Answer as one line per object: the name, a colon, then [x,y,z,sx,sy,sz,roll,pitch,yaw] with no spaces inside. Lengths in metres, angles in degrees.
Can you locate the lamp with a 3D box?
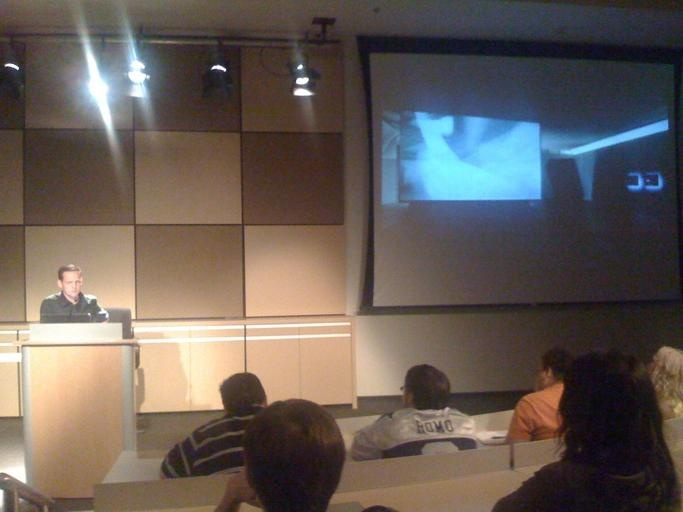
lamp: [-1.698,-1.691,5.420,4.084,0.582,0.447,1,16,-2]

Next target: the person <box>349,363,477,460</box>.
person: [0.464,0.883,3.547,0.784,0.504,0.405,5,-12,-32]
